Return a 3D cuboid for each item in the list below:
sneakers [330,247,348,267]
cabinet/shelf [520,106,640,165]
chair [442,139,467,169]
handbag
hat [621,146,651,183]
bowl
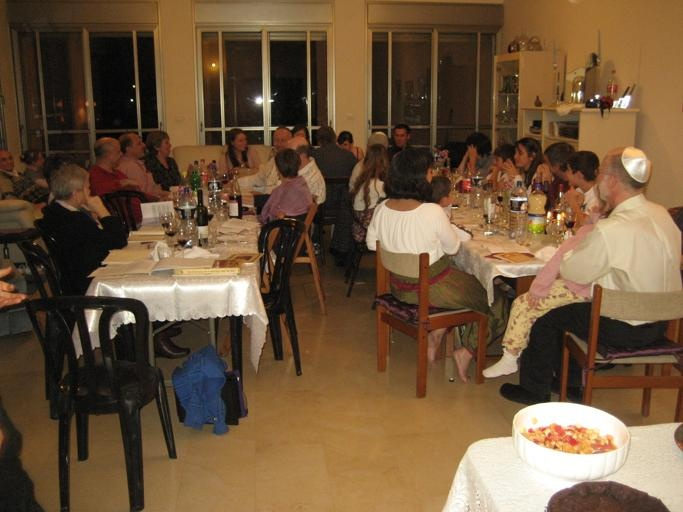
[{"bbox_3d":[-0.024,0.016,6.377,0.125,0.178,0.100,17,46,19],"label":"sneakers"},{"bbox_3d":[2.319,-1.165,5.490,0.380,0.750,1.162,-1,14,-7],"label":"cabinet/shelf"},{"bbox_3d":[1.412,-1.284,7.217,0.292,0.389,0.369,0,14,0],"label":"chair"},{"bbox_3d":[-0.740,0.787,3.195,0.306,0.348,0.108,-2,2,-11],"label":"handbag"},{"bbox_3d":[1.479,-0.450,2.893,0.138,0.177,0.174,5,17,26],"label":"hat"},{"bbox_3d":[0.638,0.516,1.600,0.296,0.116,0.285,-3,16,1],"label":"bowl"}]
